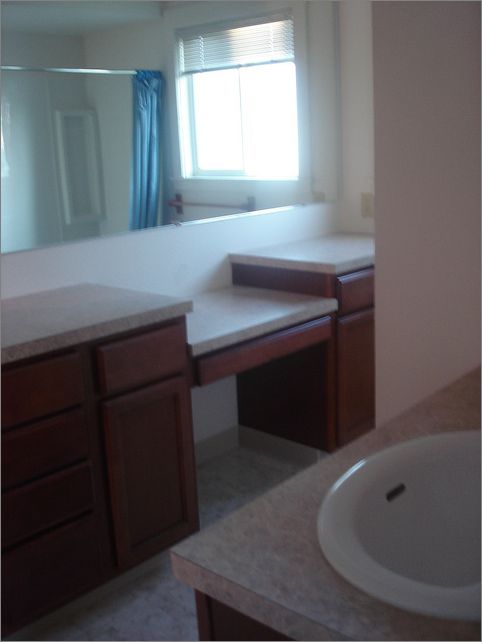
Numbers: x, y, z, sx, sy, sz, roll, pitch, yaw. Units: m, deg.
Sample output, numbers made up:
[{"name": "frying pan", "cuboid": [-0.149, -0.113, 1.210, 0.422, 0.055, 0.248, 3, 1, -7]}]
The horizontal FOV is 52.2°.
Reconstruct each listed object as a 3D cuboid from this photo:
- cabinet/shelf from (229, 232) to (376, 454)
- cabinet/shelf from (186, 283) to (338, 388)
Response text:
[{"name": "cabinet/shelf", "cuboid": [0.267, 0.094, 2.070, 0.308, 0.818, 0.652, 5, 14, 30]}, {"name": "cabinet/shelf", "cuboid": [-0.001, 0.016, 1.956, 0.754, 0.254, 0.493, -7, 11, -39]}]
